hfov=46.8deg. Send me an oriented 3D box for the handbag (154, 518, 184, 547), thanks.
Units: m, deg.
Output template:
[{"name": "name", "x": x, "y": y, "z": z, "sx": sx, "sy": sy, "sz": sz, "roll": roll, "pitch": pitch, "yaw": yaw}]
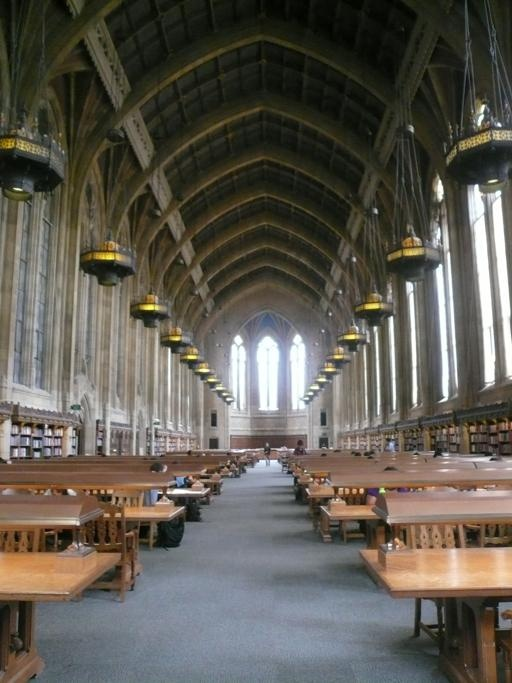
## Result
[{"name": "handbag", "x": -1.251, "y": 2.832, "z": 8.721, "sx": 0.423, "sy": 0.325, "sz": 0.684, "roll": -1, "pitch": -3, "yaw": 3}]
